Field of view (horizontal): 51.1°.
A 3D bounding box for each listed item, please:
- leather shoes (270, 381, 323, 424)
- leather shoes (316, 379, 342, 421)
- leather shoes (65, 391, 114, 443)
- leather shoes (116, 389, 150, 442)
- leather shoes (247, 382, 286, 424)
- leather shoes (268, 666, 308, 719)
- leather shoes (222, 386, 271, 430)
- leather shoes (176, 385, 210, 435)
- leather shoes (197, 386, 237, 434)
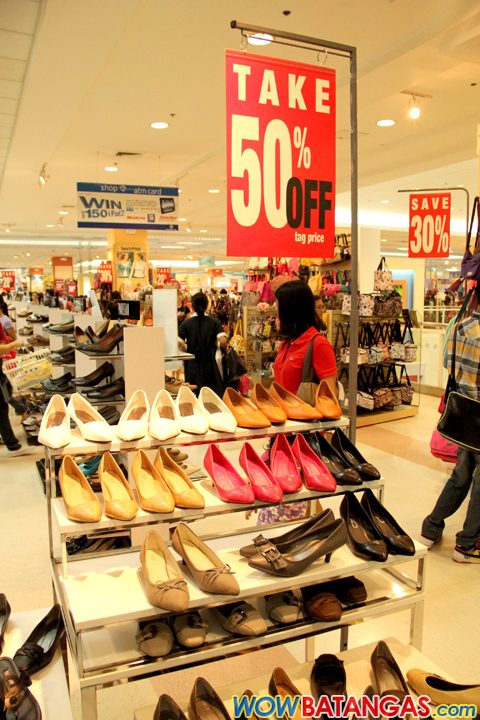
[{"bbox_3d":[0.177,0.143,1.770,0.078,0.088,0.236,-12,34,-35],"label":"leather shoes"},{"bbox_3d":[0.315,0.138,1.790,0.062,0.069,0.178,-4,18,0],"label":"leather shoes"},{"bbox_3d":[-0.467,0.190,1.557,0.090,0.107,0.271,-16,27,-30],"label":"leather shoes"},{"bbox_3d":[-0.340,0.174,1.606,0.070,0.075,0.224,-1,19,0],"label":"leather shoes"},{"bbox_3d":[0.091,0.158,1.725,0.063,0.072,0.196,-8,34,-28],"label":"leather shoes"},{"bbox_3d":[0.118,0.796,1.219,0.047,0.058,0.145,2,-5,-10],"label":"leather shoes"},{"bbox_3d":[0.020,0.183,1.690,0.074,0.084,0.228,-10,29,-29],"label":"leather shoes"},{"bbox_3d":[-0.159,0.161,1.638,0.064,0.060,0.213,-5,25,-11],"label":"leather shoes"},{"bbox_3d":[-0.073,0.162,1.667,0.068,0.067,0.214,-6,25,-19],"label":"leather shoes"}]
